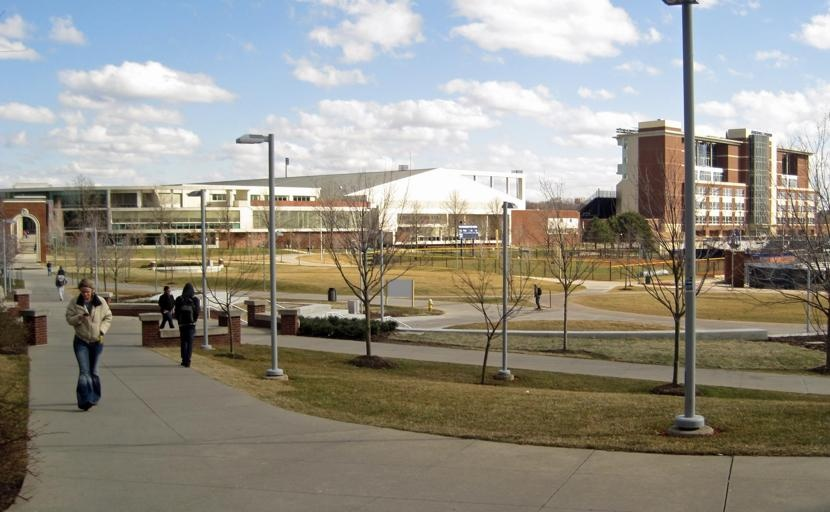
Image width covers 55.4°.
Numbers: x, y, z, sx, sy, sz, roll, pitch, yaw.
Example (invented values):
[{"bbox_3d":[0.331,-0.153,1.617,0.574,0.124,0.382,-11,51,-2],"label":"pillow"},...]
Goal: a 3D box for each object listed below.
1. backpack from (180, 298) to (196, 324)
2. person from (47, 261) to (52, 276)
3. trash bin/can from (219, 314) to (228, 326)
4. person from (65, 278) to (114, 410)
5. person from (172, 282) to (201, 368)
[{"bbox_3d":[-6.789,1.687,23.651,0.618,0.817,0.458,3,-23,-19],"label":"backpack"},{"bbox_3d":[-29.522,1.102,64.029,0.279,1.085,1.341,-1,4,-32],"label":"person"},{"bbox_3d":[-7.334,2.476,30.271,0.477,0.575,0.482,1,-4,-13],"label":"trash bin/can"},{"bbox_3d":[-7.818,2.114,18.989,0.960,3.100,0.967,0,4,-21],"label":"person"},{"bbox_3d":[-6.909,2.066,23.801,0.755,2.405,0.720,1,-4,4],"label":"person"}]
